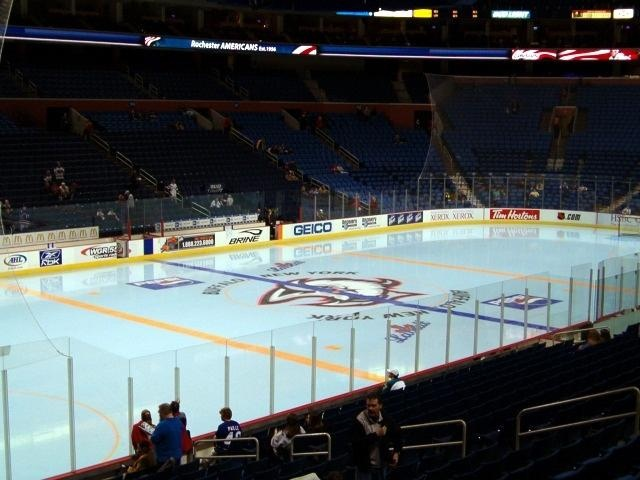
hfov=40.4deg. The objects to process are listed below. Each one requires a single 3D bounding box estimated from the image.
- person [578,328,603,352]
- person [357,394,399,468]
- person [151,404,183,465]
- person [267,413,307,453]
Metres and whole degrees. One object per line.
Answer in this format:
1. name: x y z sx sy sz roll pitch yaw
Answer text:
1. person: 6.027 2.218 19.379 0.678 0.531 0.994 -4 -11 8
2. person: 0.871 3.128 14.014 0.757 1.269 0.321 -5 9 -20
3. person: -2.706 3.447 15.314 0.500 1.050 0.367 -7 10 -31
4. person: -0.608 3.459 15.582 0.781 0.743 0.520 5 10 37
